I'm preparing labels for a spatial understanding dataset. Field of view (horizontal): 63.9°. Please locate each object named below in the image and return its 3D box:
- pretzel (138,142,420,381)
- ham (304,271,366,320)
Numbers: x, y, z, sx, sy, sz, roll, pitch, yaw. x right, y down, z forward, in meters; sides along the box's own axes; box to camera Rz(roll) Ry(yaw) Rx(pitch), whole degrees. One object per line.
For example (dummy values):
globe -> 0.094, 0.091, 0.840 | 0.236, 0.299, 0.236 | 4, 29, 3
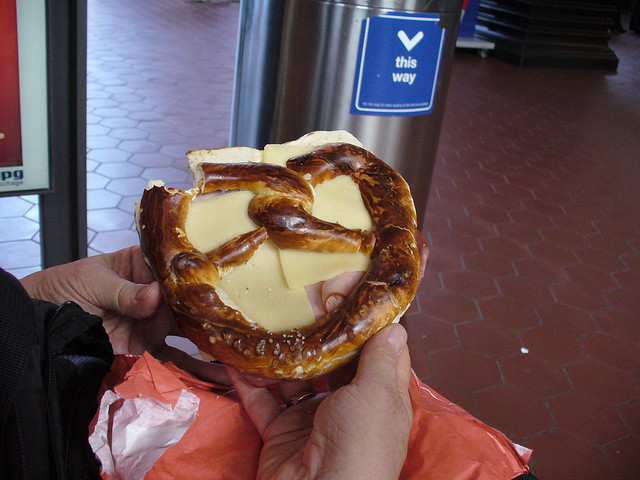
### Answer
pretzel -> -0.042, 0.028, 0.903 | 0.480, 0.317, 0.331 | -7, 31, -23
ham -> 0.022, 0.091, 0.895 | 0.099, 0.027, 0.084 | -18, 56, 7
